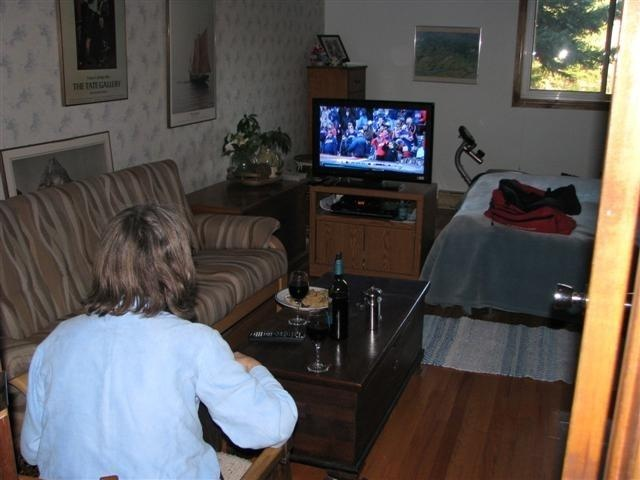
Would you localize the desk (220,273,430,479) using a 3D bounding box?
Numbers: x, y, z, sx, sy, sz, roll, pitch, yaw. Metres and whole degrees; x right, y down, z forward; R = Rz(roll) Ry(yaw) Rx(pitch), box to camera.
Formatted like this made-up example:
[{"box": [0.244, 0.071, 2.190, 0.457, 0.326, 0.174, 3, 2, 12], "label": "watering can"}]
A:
[{"box": [0.035, 0.604, 2.343, 0.621, 0.395, 1.207, 3, 15, 13], "label": "desk"}]

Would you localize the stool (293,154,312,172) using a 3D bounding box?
[{"box": [-0.189, -0.767, 5.426, 0.200, 0.235, 0.208, 2, 26, 7], "label": "stool"}]

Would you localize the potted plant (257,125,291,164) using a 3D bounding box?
[{"box": [-0.407, -0.862, 4.750, 0.370, 0.396, 0.382, 2, 2, 4], "label": "potted plant"}]

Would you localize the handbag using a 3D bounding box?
[{"box": [1.565, -0.222, 3.827, 0.496, 0.187, 0.517, 8, 32, 22], "label": "handbag"}]

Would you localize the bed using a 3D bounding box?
[{"box": [1.539, 0.060, 4.194, 1.112, 0.850, 1.415, 9, 17, 27], "label": "bed"}]

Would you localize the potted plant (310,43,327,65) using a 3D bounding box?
[{"box": [-0.012, -2.204, 6.243, 0.187, 0.192, 0.304, 1, 15, -2], "label": "potted plant"}]

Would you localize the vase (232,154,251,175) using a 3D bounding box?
[{"box": [-0.665, -0.658, 4.467, 0.129, 0.167, 0.144, 2, 3, -2], "label": "vase"}]

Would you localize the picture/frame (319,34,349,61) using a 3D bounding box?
[{"box": [0.152, -2.352, 6.350, 0.042, 0.370, 0.439, -21, 16, 35], "label": "picture/frame"}]

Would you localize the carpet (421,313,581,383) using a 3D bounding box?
[{"box": [1.205, 0.706, 3.451, 1.032, 0.052, 0.734, 5, 15, 12], "label": "carpet"}]
